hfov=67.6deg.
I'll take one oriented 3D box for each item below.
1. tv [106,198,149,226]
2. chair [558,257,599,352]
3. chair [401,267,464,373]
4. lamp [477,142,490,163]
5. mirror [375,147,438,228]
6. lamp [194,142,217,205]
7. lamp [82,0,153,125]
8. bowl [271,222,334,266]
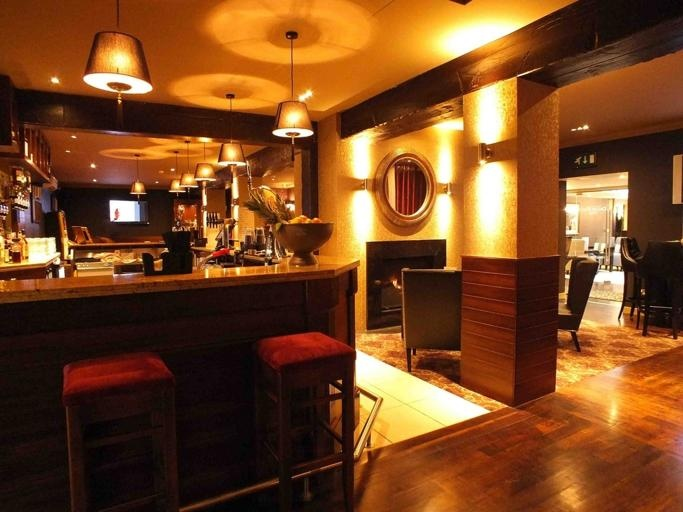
[{"bbox_3d":[-7.136,-1.472,16.686,0.987,0.668,0.095,0,0,-26],"label":"tv"},{"bbox_3d":[2.605,0.537,6.066,0.681,0.987,0.604,4,6,21],"label":"chair"},{"bbox_3d":[0.921,0.731,5.526,0.710,0.875,0.699,4,-9,-12],"label":"chair"},{"bbox_3d":[1.309,-0.948,4.703,0.151,0.235,0.137,2,-2,13],"label":"lamp"},{"bbox_3d":[0.933,-0.984,7.477,1.120,1.085,0.078,-3,1,-29],"label":"mirror"},{"bbox_3d":[-2.274,-1.375,8.387,0.312,0.948,0.304,0,14,-12],"label":"lamp"},{"bbox_3d":[-1.934,-1.642,4.399,0.470,1.006,1.817,-6,14,-19],"label":"lamp"},{"bbox_3d":[-0.297,-0.098,4.019,0.466,0.305,0.461,-2,3,0],"label":"bowl"}]
